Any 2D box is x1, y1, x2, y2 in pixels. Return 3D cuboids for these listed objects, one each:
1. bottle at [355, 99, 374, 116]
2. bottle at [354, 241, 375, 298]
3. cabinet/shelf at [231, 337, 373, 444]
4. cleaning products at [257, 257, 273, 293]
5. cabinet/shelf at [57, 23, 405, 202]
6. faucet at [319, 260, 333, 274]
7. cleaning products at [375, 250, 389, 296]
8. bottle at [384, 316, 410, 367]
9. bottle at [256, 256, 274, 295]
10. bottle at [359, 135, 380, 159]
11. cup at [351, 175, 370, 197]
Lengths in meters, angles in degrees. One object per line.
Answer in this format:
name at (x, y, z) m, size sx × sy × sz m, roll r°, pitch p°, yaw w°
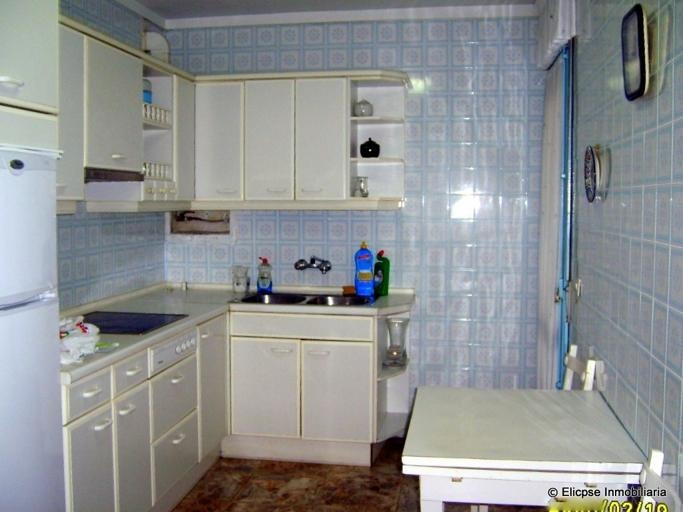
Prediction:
bottle at (0.171, -1.062, 3.868) m, size 0.116 × 0.120 × 0.120 m, roll 6°, pitch 11°, yaw 27°
bottle at (0.175, 0.103, 3.979) m, size 0.142 × 0.369 × 0.345 m, roll 2°, pitch 11°, yaw 3°
cabinet/shelf at (-0.253, 0.869, 3.872) m, size 0.993 × 0.712 × 0.559 m, roll 2°, pitch 13°, yaw 1°
cleaning products at (-0.584, 0.134, 4.160) m, size 0.117 × 0.256 × 0.229 m, roll 0°, pitch 11°, yaw -7°
cabinet/shelf at (-0.821, -0.822, 3.384) m, size 1.287 × 0.609 × 1.243 m, roll 1°, pitch 5°, yaw 5°
faucet at (-0.125, 0.081, 4.103) m, size 0.080 × 0.103 × 0.038 m, roll 1°, pitch 6°, yaw 6°
cleaning products at (0.310, 0.122, 4.030) m, size 0.126 × 0.318 × 0.201 m, roll 2°, pitch 11°, yaw 4°
bottle at (0.398, 0.581, 3.834) m, size 0.163 × 0.363 × 0.254 m, roll 3°, pitch 11°, yaw 8°
bottle at (-0.584, 0.147, 4.145) m, size 0.127 × 0.300 × 0.128 m, roll -3°, pitch -17°, yaw -1°
bottle at (0.202, -0.803, 3.943) m, size 0.149 × 0.158 × 0.151 m, roll 10°, pitch 16°, yaw 41°
cup at (0.150, -0.505, 3.946) m, size 0.144 × 0.176 × 0.150 m, roll 1°, pitch 0°, yaw 0°
